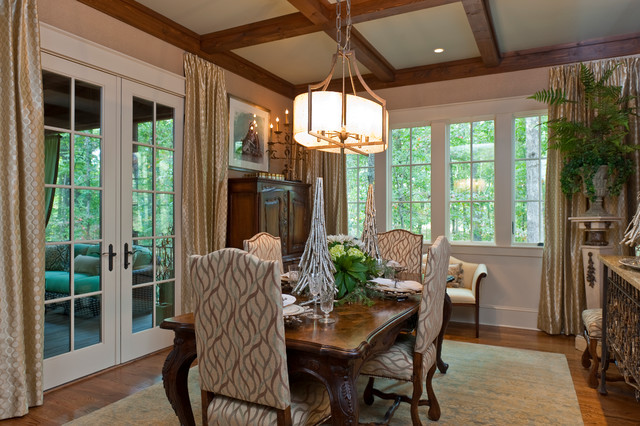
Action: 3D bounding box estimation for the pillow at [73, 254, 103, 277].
[{"bbox_3d":[-2.519,0.559,4.876,0.260,0.174,0.090,-3,-1,-8],"label":"pillow"}]

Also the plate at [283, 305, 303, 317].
[{"bbox_3d":[-0.216,0.766,3.542,0.110,0.019,0.103,1,5,16],"label":"plate"}]

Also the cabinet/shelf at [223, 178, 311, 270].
[{"bbox_3d":[-0.701,0.112,5.672,0.506,1.229,1.330,-2,-2,26],"label":"cabinet/shelf"}]
